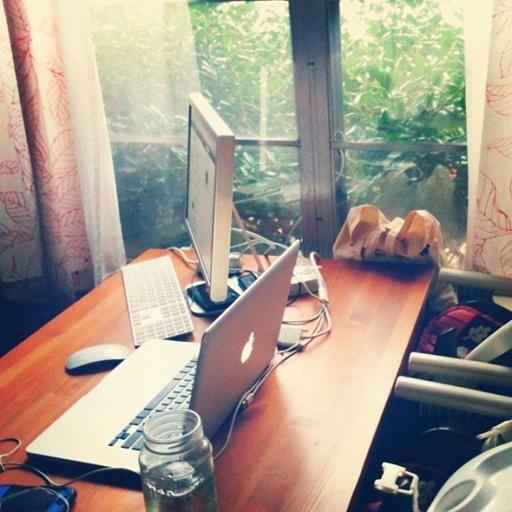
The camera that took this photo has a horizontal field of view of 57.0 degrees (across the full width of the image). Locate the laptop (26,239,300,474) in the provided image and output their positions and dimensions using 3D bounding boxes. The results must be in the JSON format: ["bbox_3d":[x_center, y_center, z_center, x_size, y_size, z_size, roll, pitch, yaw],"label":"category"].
[{"bbox_3d":[-0.166,0.162,0.922,0.374,0.286,0.479,6,21,24],"label":"laptop"}]

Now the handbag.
[{"bbox_3d":[0.461,-0.078,1.585,0.325,0.222,0.194,9,0,30],"label":"handbag"}]

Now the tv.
[{"bbox_3d":[-0.117,-0.123,1.225,0.139,0.492,0.481,-5,25,-14],"label":"tv"}]
